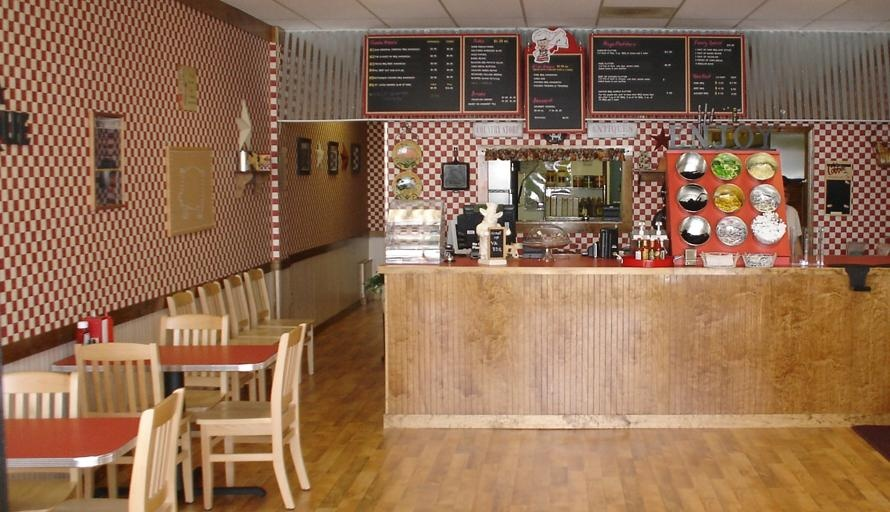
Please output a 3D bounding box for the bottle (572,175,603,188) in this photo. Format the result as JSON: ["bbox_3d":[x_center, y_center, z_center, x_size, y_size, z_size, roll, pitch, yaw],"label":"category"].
[{"bbox_3d":[2.140,-1.085,9.404,0.423,0.178,0.050,3,15,15],"label":"bottle"}]

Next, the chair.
[{"bbox_3d":[-2.272,1.256,5.774,1.929,1.013,1.765,1,1,7],"label":"chair"}]

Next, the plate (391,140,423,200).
[{"bbox_3d":[-0.537,-1.217,9.021,0.435,0.793,0.206,-2,15,-2],"label":"plate"}]

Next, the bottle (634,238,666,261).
[{"bbox_3d":[2.262,-0.081,6.879,0.329,0.215,0.433,4,14,18],"label":"bottle"}]

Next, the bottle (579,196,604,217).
[{"bbox_3d":[2.181,-0.702,9.378,0.356,0.281,0.154,1,14,8],"label":"bottle"}]

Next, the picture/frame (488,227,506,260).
[{"bbox_3d":[0.562,-0.120,6.808,0.164,0.304,0.091,-3,15,-7],"label":"picture/frame"}]
